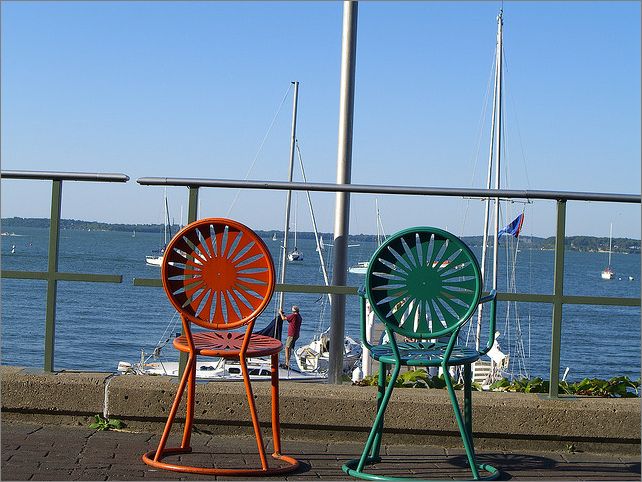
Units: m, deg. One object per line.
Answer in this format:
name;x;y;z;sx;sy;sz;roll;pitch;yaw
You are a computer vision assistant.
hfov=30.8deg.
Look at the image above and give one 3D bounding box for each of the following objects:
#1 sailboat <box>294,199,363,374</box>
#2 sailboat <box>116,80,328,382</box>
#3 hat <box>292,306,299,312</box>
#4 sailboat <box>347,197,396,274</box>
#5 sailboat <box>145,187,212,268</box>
sailboat;0.373;1.180;78.931;2.949;16.293;3.625;1;-1;22
sailboat;-6.218;8.015;82.262;8.583;28.270;12.934;0;3;22
hat;-1.804;4.800;82.117;0.442;0.466;0.360;3;-2;-17
sailboat;3.274;0.262;78.248;2.274;5.884;1.911;-1;0;-20
sailboat;-10.304;-0.416;77.650;2.497;6.357;2.905;2;3;0
